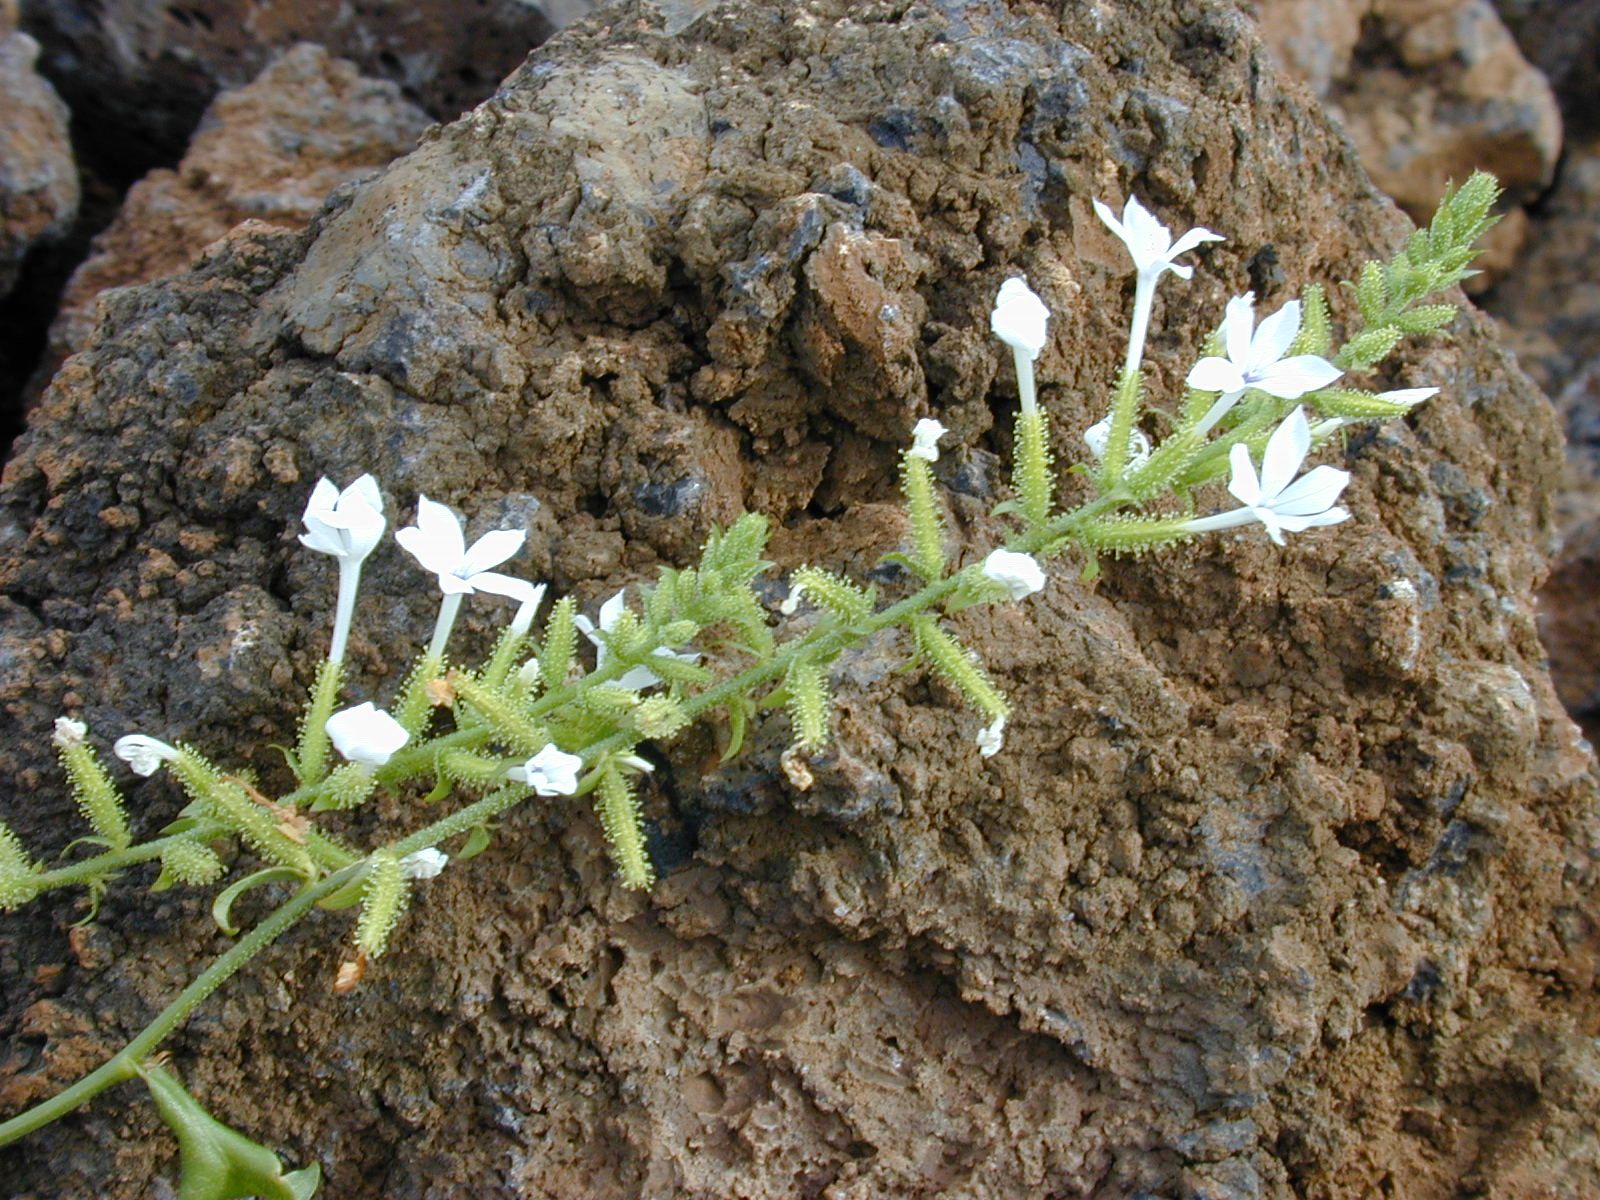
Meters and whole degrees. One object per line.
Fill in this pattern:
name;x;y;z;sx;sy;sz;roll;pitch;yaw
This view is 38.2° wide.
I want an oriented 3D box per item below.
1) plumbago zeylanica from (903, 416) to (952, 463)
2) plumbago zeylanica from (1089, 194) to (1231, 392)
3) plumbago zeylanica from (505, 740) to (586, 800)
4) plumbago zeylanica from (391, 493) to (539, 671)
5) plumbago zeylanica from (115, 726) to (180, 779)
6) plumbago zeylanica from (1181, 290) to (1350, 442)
plumbago zeylanica;0.420;-0.524;7.501;0.124;0.047;0.208;-1;88;-15
plumbago zeylanica;1.139;-1.056;7.387;0.375;0.400;0.736;-1;104;5
plumbago zeylanica;-0.771;0.519;6.988;0.163;0.076;0.184;12;70;10
plumbago zeylanica;-1.050;-0.149;7.159;0.366;0.386;0.600;-7;109;-30
plumbago zeylanica;-2.035;0.478;7.163;0.222;0.067;0.152;26;101;34
plumbago zeylanica;1.404;-0.720;7.014;0.401;0.194;0.453;41;92;7
